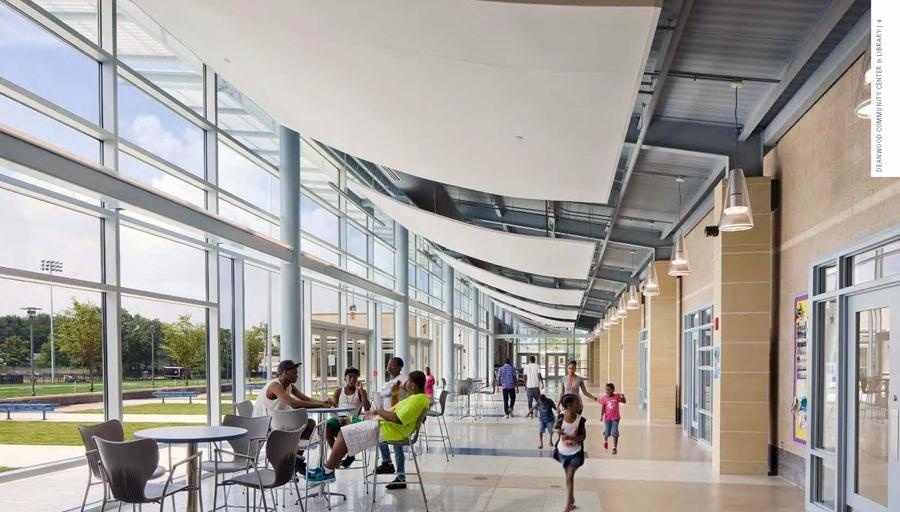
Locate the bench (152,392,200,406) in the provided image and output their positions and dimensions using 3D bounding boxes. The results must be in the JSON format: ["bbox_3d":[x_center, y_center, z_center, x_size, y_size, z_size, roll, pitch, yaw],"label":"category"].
[{"bbox_3d":[-4.838,2.490,11.641,0.038,0.279,1.028,-7,-18,21],"label":"bench"}]

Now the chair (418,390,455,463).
[{"bbox_3d":[-0.311,3.819,15.134,0.768,1.230,0.736,-11,-4,-2],"label":"chair"}]

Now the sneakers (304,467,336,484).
[{"bbox_3d":[-1.938,3.278,9.819,0.507,0.223,0.186,6,-8,-11],"label":"sneakers"}]

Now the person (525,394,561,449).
[{"bbox_3d":[1.988,3.496,14.005,0.585,1.103,0.555,-4,0,1],"label":"person"}]

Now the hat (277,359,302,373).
[{"bbox_3d":[-2.585,1.760,10.589,0.347,0.173,0.222,-5,0,-23],"label":"hat"}]

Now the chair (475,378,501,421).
[{"bbox_3d":[1.356,5.252,24.811,1.059,1.225,1.044,-7,4,-27],"label":"chair"}]

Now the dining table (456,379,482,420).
[{"bbox_3d":[0.586,4.344,20.530,0.811,1.316,0.939,0,7,20],"label":"dining table"}]

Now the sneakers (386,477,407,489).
[{"bbox_3d":[-0.871,3.695,10.681,0.337,0.203,0.179,3,-10,6],"label":"sneakers"}]

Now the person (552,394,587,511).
[{"bbox_3d":[1.780,2.940,9.864,0.496,1.682,0.529,8,-18,-27],"label":"person"}]

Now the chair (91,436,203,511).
[{"bbox_3d":[-3.875,2.833,8.495,1.019,0.919,1.439,-3,-17,8],"label":"chair"}]

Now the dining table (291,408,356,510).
[{"bbox_3d":[-2.174,3.253,11.066,1.334,1.626,1.367,0,-11,-1],"label":"dining table"}]
